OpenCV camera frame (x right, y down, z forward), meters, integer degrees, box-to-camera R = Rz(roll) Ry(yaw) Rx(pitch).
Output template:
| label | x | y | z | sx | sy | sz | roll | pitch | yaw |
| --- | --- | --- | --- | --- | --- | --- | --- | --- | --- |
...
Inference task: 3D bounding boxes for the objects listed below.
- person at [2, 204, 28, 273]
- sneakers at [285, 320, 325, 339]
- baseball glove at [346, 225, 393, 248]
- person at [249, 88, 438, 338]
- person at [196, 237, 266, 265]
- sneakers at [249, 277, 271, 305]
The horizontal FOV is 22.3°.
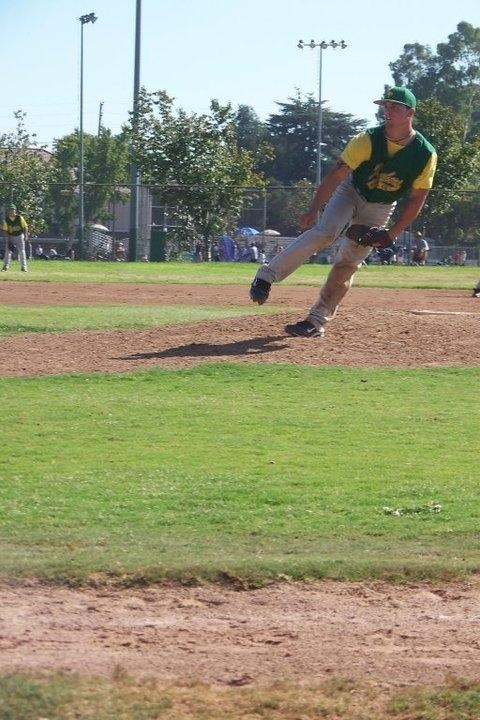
| label | x | y | z | sx | sy | sz | roll | pitch | yaw |
| --- | --- | --- | --- | --- | --- | --- | --- | --- | --- |
| person | -3.950 | -2.102 | 21.249 | 0.418 | 1.149 | 1.979 | -2 | 12 | -10 |
| sneakers | 0.486 | -0.229 | 9.050 | 0.293 | 0.112 | 0.119 | 8 | 0 | -34 |
| baseball glove | 0.885 | -0.838 | 8.233 | 0.277 | 0.142 | 0.099 | 17 | 13 | 32 |
| person | 0.717 | -0.945 | 8.320 | 1.017 | 1.815 | 1.269 | -4 | 14 | -21 |
| person | -0.232 | -3.263 | 36.558 | 1.822 | 0.636 | 1.133 | -1 | 7 | -12 |
| sneakers | 0.151 | -0.510 | 8.579 | 0.116 | 0.085 | 0.236 | -7 | 36 | 15 |
